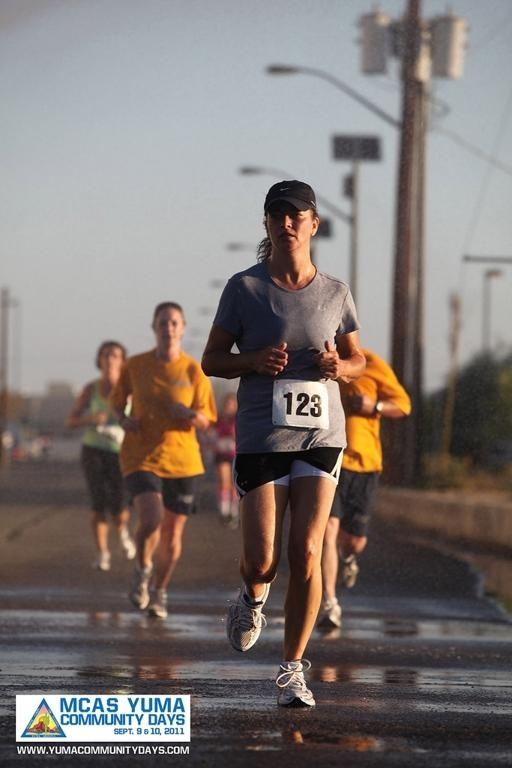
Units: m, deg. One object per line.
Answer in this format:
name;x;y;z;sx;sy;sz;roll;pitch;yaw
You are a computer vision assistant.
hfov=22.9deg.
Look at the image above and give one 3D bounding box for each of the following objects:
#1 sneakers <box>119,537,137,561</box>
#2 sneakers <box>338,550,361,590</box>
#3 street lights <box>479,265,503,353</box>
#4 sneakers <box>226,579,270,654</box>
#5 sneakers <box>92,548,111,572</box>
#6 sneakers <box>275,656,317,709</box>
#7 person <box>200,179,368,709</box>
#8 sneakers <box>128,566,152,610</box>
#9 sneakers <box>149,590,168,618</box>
sneakers;-0.653;0.838;6.422;0.064;0.043;0.109;-2;53;-25
sneakers;0.518;1.028;7.130;0.100;0.113;0.263;-1;45;8
street lights;1.272;-0.475;7.034;0.104;0.422;0.050;-3;41;-5
sneakers;-0.057;0.894;4.830;0.130;0.303;0.136;12;12;-11
sneakers;-0.764;0.883;6.262;0.050;0.097;0.145;5;11;18
sneakers;0.138;1.076;4.495;0.136;0.151;0.276;2;10;1
person;0.083;0.171;4.625;0.587;1.797;0.795;2;11;4
sneakers;-0.615;1.019;6.286;0.078;0.149;0.216;5;33;-13
sneakers;-0.511;1.130;6.576;0.063;0.075;0.177;3;38;4
